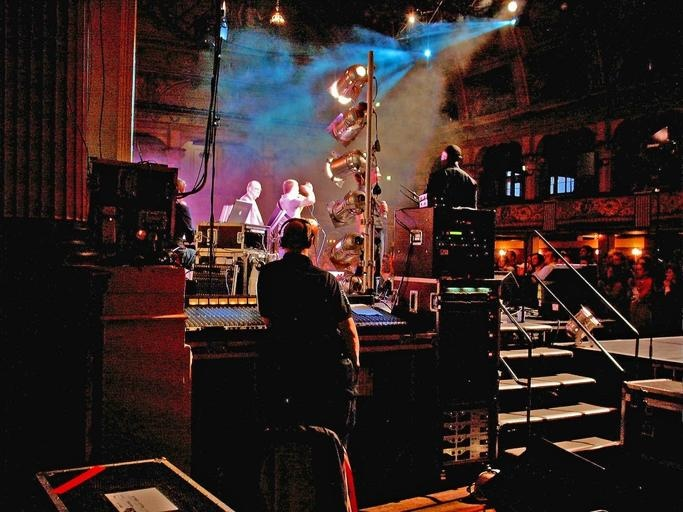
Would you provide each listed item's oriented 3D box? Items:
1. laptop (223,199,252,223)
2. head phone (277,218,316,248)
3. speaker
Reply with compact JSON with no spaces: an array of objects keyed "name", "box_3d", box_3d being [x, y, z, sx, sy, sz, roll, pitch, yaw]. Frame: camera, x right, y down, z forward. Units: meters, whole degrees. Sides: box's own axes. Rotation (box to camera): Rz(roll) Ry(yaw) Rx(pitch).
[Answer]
[{"name":"laptop","box_3d":[-1.598,-0.714,10.683,0.378,0.343,0.492,-1,3,-7]},{"name":"head phone","box_3d":[-0.355,-0.153,5.553,0.203,0.216,0.274,2,-26,-4]},{"name":"speaker","box_3d":[1.036,-0.026,7.000,0.782,0.695,0.794,2,-4,-19]}]
